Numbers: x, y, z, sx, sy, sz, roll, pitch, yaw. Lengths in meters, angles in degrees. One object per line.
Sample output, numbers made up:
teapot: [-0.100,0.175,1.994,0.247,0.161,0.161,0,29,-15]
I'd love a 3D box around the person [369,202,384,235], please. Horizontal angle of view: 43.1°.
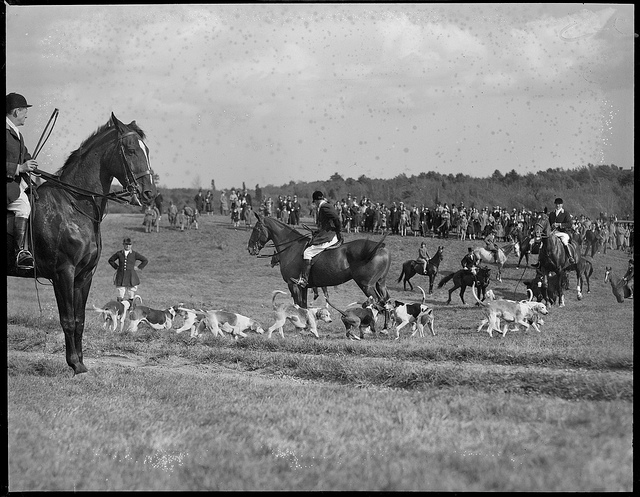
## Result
person: [1.704,-0.938,24.305,0.398,1.061,0.385,-14,29,-31]

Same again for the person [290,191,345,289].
person: [0.020,-0.165,17.585,0.985,2.007,0.493,2,0,-8]

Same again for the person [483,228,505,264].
person: [5.124,-0.140,23.146,0.804,1.317,0.564,1,0,4]

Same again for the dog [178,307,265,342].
dog: [-2.126,1.648,17.113,1.815,0.763,0.452,5,1,-6]

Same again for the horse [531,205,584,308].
horse: [6.236,0.311,21.043,0.777,2.568,3.091,-5,-8,36]

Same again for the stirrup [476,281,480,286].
stirrup: [3.924,0.856,20.063,0.069,0.114,0.026,-1,5,10]

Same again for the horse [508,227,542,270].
horse: [5.456,-0.017,21.815,0.403,1.075,1.542,17,9,38]

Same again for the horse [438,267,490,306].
horse: [3.679,0.919,20.466,1.542,1.121,0.353,5,12,39]

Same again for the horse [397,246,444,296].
horse: [2.702,0.579,21.398,1.305,1.265,0.326,0,-3,23]

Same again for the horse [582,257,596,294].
horse: [7.130,0.718,21.516,0.277,0.799,1.165,1,0,20]

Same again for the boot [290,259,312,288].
boot: [-0.288,0.551,17.579,0.249,0.585,0.141,2,0,-5]

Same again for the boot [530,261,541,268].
boot: [5.723,0.439,21.525,0.264,0.204,0.092,8,8,41]

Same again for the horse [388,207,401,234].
horse: [2.233,-0.862,23.986,0.450,0.334,1.088,8,-39,11]

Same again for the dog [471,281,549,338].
dog: [4.157,1.527,17.449,1.199,0.919,0.483,2,0,-1]

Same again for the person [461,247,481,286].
person: [3.860,0.464,20.439,0.383,0.963,0.511,-12,16,-18]

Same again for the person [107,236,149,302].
person: [-4.722,0.566,19.852,1.233,2.270,0.734,1,-10,-16]

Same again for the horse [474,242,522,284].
horse: [4.843,0.355,22.672,1.516,1.170,0.361,2,8,0]

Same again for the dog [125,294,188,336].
dog: [-3.533,1.532,17.603,1.206,0.874,0.352,10,-17,-26]

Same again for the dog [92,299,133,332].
dog: [-4.458,1.452,17.548,0.282,0.772,1.450,5,-2,17]

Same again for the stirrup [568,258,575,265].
stirrup: [6.376,0.337,20.593,0.151,0.174,0.052,1,-3,7]
